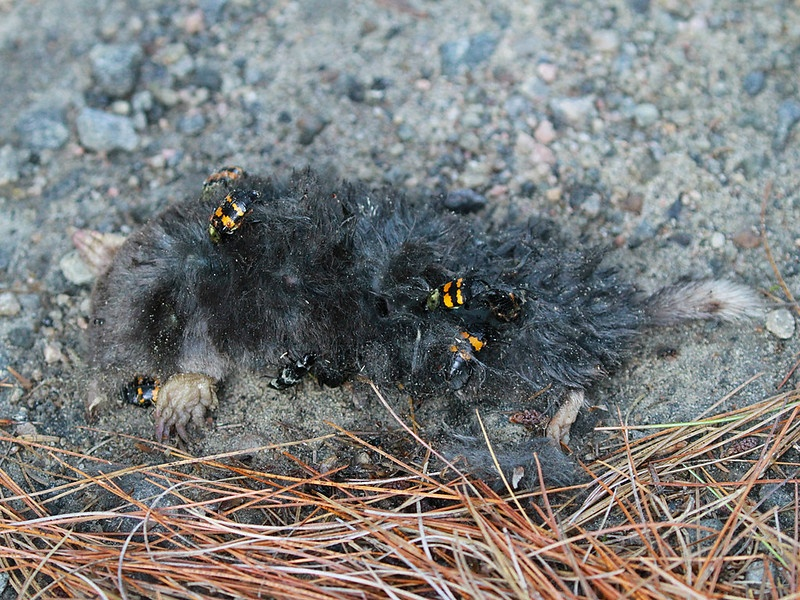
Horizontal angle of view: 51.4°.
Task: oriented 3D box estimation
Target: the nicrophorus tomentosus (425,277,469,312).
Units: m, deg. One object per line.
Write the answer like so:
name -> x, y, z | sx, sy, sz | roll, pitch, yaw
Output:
nicrophorus tomentosus -> 0.217, -0.016, 3.829 | 0.181, 0.173, 0.127 | -7, 75, -2
